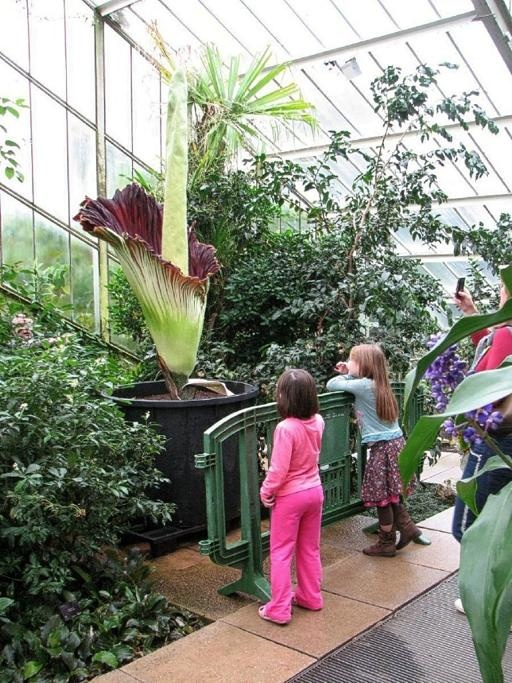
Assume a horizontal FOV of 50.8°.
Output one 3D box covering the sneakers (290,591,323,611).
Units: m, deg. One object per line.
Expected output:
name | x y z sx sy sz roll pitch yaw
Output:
sneakers | 0.229 1.172 2.464 0.054 0.062 0.147 -5 11 -39

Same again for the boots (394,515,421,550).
boots | 0.880 1.114 3.116 0.127 0.193 0.120 -4 -4 24

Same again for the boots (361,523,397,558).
boots | 0.714 1.126 3.110 0.186 0.194 0.180 -4 -4 17

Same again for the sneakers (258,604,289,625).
sneakers | 0.059 1.168 2.309 0.175 0.059 0.044 -6 -5 40

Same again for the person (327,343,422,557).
person | 0.705 0.625 3.224 0.363 1.214 0.423 0 -5 -42

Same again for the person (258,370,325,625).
person | 0.156 0.665 2.420 0.223 1.075 0.388 -5 -4 40

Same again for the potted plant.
potted plant | -0.584 -0.341 3.653 0.742 3.081 0.889 -5 -4 29
